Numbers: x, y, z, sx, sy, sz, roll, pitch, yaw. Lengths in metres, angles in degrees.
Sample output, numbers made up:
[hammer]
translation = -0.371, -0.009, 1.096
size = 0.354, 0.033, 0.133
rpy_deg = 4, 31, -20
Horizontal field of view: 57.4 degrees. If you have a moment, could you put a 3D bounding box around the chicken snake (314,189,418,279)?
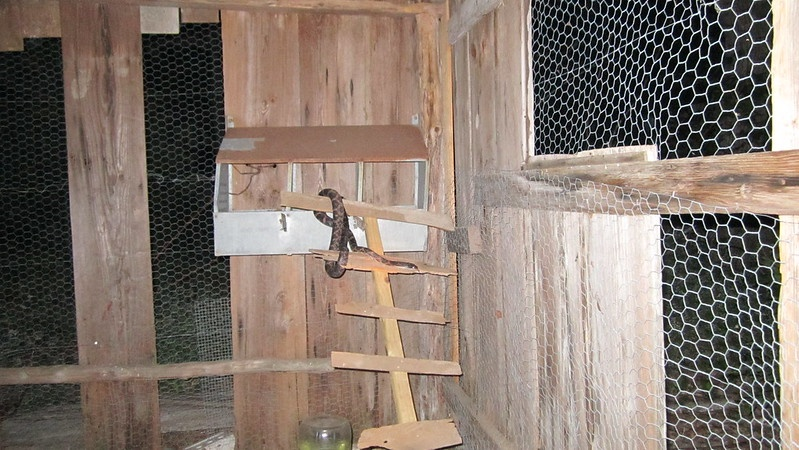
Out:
[chicken snake]
translation = -0.355, 0.173, 5.283
size = 0.816, 0.380, 0.478
rpy_deg = 40, -84, -15
